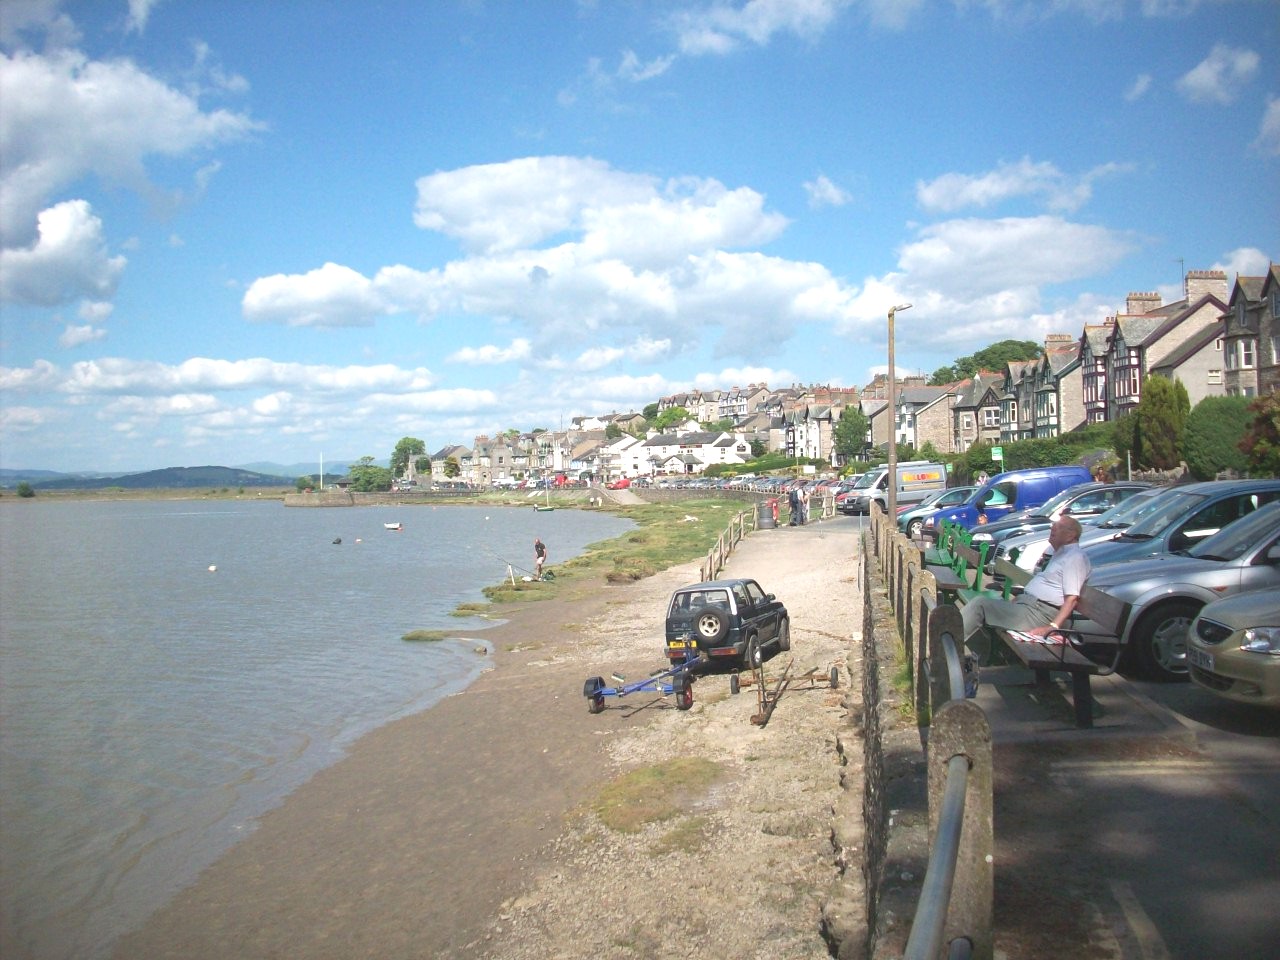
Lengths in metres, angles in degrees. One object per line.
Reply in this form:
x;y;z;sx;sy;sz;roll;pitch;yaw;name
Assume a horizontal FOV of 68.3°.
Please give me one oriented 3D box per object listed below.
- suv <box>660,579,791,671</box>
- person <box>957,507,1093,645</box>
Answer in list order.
2.127;3.429;22.968;1.723;1.470;3.037;-2;4;24;suv
5.489;1.374;13.445;1.189;2.003;1.036;22;13;8;person
